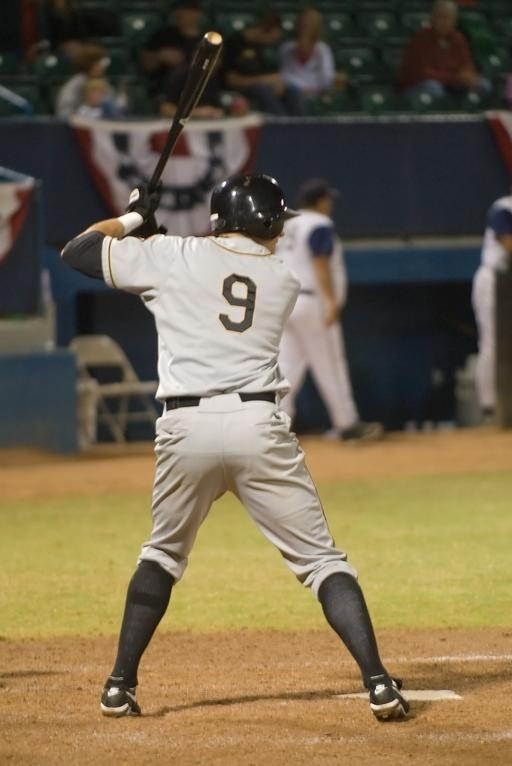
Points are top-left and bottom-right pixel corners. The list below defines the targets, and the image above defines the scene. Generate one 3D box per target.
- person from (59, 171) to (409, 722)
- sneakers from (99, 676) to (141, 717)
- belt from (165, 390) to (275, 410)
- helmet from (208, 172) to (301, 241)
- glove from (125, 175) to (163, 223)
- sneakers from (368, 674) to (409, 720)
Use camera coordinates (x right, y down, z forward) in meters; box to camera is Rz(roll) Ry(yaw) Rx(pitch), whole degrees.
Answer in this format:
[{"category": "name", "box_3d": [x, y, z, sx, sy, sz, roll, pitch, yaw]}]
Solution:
[{"category": "person", "box_3d": [-0.057, 0.137, 2.376, 0.712, 1.252, 0.463, -4, 6, 5]}, {"category": "sneakers", "box_3d": [-0.295, 0.716, 2.294, 0.059, 0.057, 0.144, 2, -9, 6]}, {"category": "belt", "box_3d": [-0.079, 0.042, 2.274, 0.247, 0.034, 0.077, -3, 4, -1]}, {"category": "helmet", "box_3d": [-0.013, -0.415, 2.472, 0.211, 0.124, 0.148, 6, -8, -34]}, {"category": "glove", "box_3d": [-0.279, -0.458, 2.557, 0.094, 0.100, 0.052, 12, -13, 31]}, {"category": "sneakers", "box_3d": [0.299, 0.698, 2.246, 0.071, 0.069, 0.161, -4, -20, 10]}]
